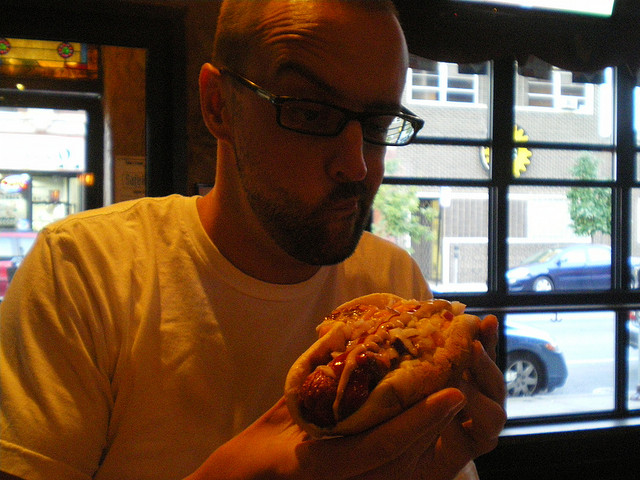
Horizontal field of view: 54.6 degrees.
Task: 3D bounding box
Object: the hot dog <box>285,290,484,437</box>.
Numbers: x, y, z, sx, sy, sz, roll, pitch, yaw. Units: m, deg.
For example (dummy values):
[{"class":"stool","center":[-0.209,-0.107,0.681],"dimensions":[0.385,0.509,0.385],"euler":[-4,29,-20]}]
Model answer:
[{"class":"hot dog","center":[0.179,0.341,1.826],"dimensions":[0.502,0.173,0.342],"euler":[-30,33,-32]}]
